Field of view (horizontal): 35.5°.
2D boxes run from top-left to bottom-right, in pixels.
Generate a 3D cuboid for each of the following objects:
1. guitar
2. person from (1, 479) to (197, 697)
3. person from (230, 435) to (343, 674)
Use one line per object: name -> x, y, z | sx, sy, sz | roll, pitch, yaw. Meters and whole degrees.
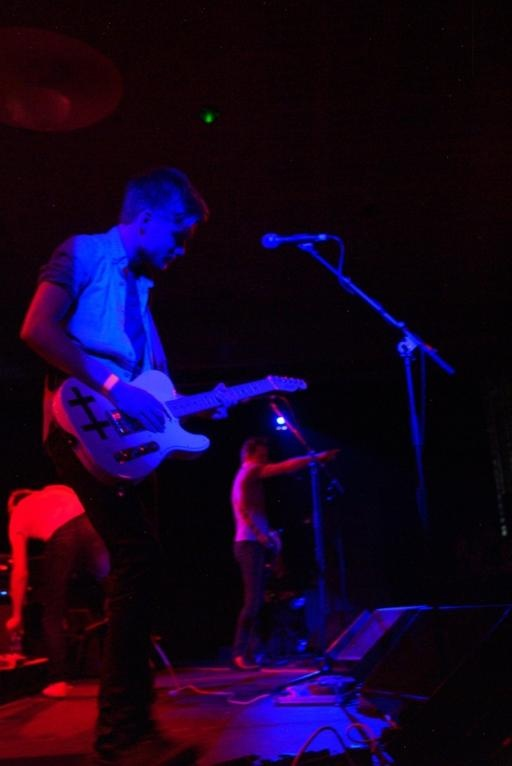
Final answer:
guitar -> -0.327, 0.159, 3.095 | 0.303, 0.458, 0.932 | -1, -9, 38
person -> -0.743, 0.804, 3.128 | 0.572, 0.882, 0.244 | -8, -31, -28
person -> 0.143, 0.795, 3.541 | 0.541, 0.972, 0.528 | -1, -36, -6
